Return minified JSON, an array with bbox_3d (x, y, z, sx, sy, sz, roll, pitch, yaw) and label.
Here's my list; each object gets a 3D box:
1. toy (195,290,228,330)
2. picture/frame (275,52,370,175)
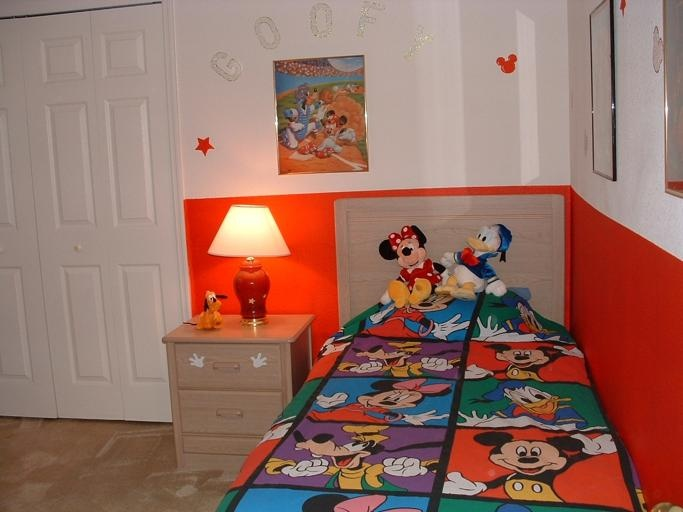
[{"bbox_3d":[-0.725,0.303,2.858,0.183,0.196,0.159,-1,1,3],"label":"toy"},{"bbox_3d":[-0.088,-0.852,2.907,0.801,0.799,0.036,0,12,12],"label":"picture/frame"}]
